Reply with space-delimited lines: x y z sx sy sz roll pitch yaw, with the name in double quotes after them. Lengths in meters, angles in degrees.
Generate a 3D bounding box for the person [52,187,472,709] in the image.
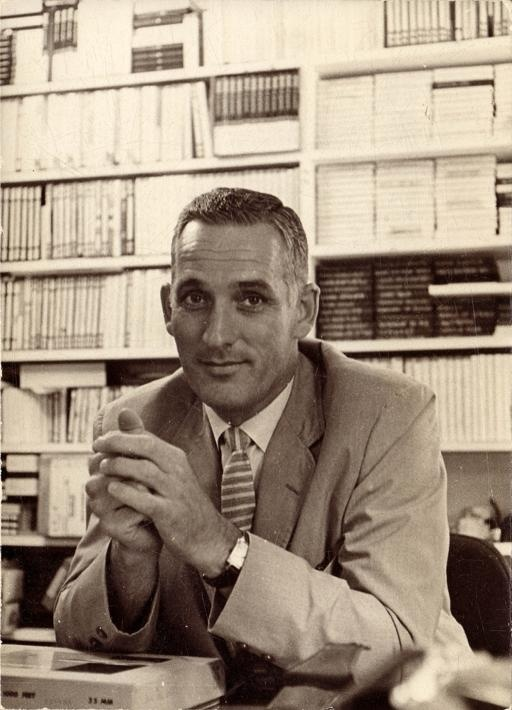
0.036 0.327 2.063 0.550 1.178 0.542 -3 -5 -26 "person"

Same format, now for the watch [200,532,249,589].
-0.047 0.298 1.794 0.023 0.076 0.061 19 -42 1 "watch"
